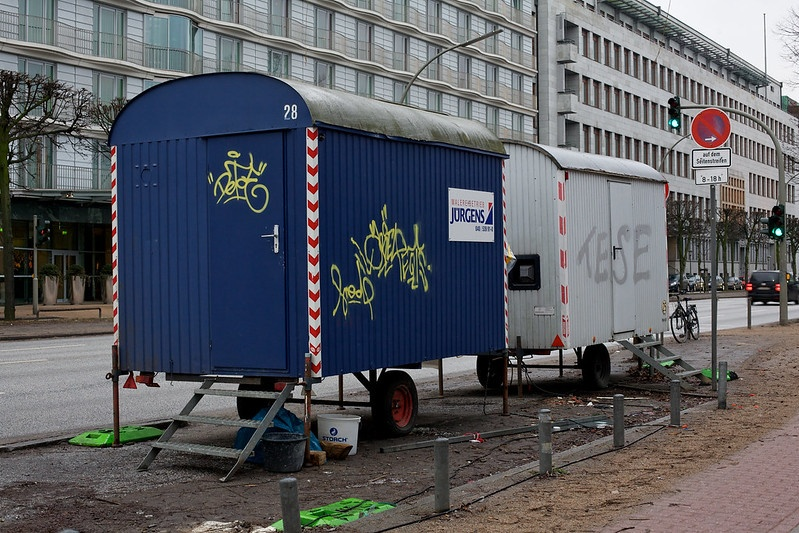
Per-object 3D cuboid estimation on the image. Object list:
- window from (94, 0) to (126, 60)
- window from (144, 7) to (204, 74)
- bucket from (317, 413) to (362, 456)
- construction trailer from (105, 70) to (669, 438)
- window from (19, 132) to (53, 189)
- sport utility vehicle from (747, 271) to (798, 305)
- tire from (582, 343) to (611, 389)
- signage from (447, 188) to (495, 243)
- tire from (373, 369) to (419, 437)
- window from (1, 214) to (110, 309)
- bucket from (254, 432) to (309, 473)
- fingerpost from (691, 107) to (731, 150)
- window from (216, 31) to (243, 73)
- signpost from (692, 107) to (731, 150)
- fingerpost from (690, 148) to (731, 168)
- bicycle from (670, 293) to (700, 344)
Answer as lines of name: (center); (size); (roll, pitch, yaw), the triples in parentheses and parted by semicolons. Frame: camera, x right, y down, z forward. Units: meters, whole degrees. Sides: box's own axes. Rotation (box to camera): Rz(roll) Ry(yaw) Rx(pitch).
window: (-13.880, -11.198, 46.908); (0.265, 2.646, 1.638); (3, -1, 42)
window: (-11.025, -11.088, 49.131); (1.171, 2.917, 3.083); (-10, -16, 42)
bucket: (-0.959, 2.512, 14.875); (0.534, 0.455, 0.570); (3, -7, 0)
construction trailer: (0.224, -0.107, 20.468); (3.900, 5.917, 13.193); (-1, 0, 28)
window: (-16.634, -4.800, 45.314); (0.459, 2.469, 1.317); (3, -1, 43)
sport utility vehicle: (18.000, 1.038, 47.832); (1.489, 1.415, 3.362); (0, 2, 34)
tire: (3.926, 2.011, 19.900); (0.271, 0.942, 0.876); (-7, -3, 34)
signage: (1.221, -0.906, 16.833); (0.046, 0.895, 1.103); (-5, 7, -44)
tire: (-0.112, 2.237, 15.943); (0.305, 1.015, 0.954); (-3, -14, 34)
window: (-15.488, -0.514, 45.499); (5.683, 4.741, 6.508); (4, -1, -32)
bucket: (-1.685, 2.605, 14.035); (0.526, 0.366, 0.557); (2, -2, 0)
fingerpost: (6.014, -2.671, 19.109); (0.741, 0.889, 0.079); (-2, -21, 17)
window: (-8.870, -10.971, 50.855); (0.417, 1.842, 1.585); (3, -1, 34)
signpost: (6.011, -2.673, 19.110); (0.733, 0.881, 0.079); (-4, -22, 16)
fingerpost: (5.964, -2.098, 18.938); (0.719, 0.371, 0.623); (3, -1, 16)
bicycle: (8.249, 1.457, 28.616); (0.872, 1.305, 2.021); (-9, -3, 35)
